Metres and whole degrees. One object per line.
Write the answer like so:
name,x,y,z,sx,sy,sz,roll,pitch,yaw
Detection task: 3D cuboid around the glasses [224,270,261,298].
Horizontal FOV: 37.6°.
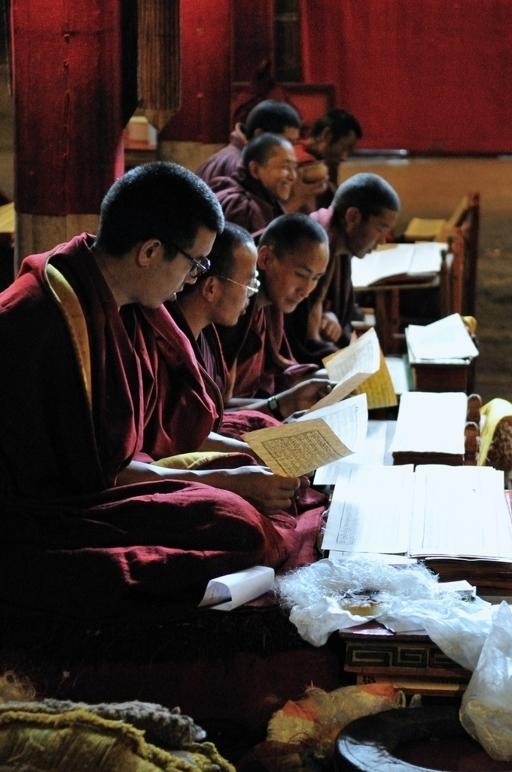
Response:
glasses,-0.039,-0.260,2.057,0.101,0.030,0.093,20,5,-4

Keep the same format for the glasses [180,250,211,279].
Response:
glasses,-0.137,-0.249,1.557,0.020,0.059,0.059,-39,-9,17

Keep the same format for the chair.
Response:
chair,1.034,-0.663,4.311,0.617,1.109,0.763,2,13,11
